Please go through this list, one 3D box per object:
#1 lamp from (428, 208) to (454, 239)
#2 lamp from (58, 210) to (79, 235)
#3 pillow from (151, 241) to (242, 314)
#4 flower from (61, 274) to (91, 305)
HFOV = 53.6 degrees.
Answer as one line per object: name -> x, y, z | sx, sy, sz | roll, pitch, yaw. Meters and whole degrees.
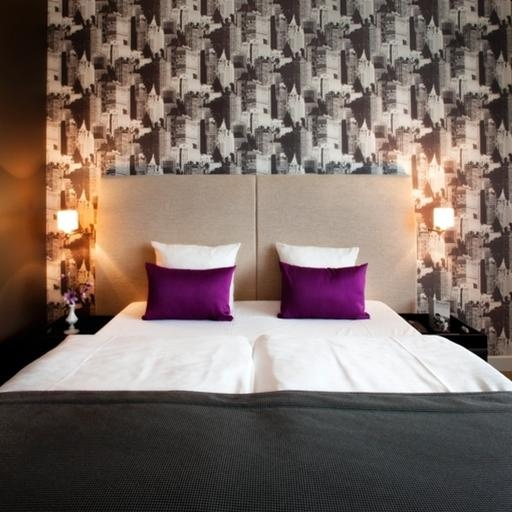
lamp -> 1.230, -0.232, 3.415 | 0.145, 0.324, 0.163 | 1, -11, 14
lamp -> -1.207, -0.211, 3.301 | 0.133, 0.164, 0.146 | 0, 0, -6
pillow -> -0.363, 0.126, 2.942 | 0.346, 0.311, 0.133 | 0, -6, -4
flower -> -1.196, 0.230, 3.335 | 0.204, 0.233, 0.055 | -1, 0, 16
